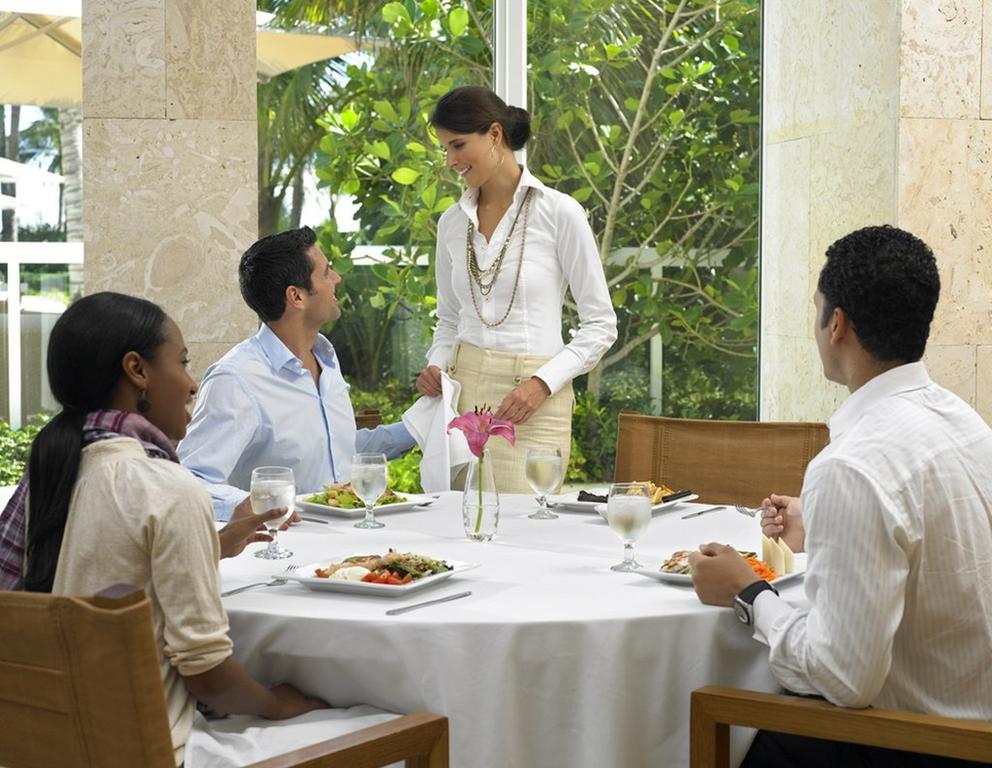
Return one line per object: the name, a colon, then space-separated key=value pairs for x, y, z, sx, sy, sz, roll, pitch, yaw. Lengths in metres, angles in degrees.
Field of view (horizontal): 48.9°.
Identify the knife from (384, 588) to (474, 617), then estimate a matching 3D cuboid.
knife: x=-0.130 y=0.418 z=2.074 sx=0.169 sy=0.009 sz=0.018 roll=-6 pitch=36 yaw=-32
